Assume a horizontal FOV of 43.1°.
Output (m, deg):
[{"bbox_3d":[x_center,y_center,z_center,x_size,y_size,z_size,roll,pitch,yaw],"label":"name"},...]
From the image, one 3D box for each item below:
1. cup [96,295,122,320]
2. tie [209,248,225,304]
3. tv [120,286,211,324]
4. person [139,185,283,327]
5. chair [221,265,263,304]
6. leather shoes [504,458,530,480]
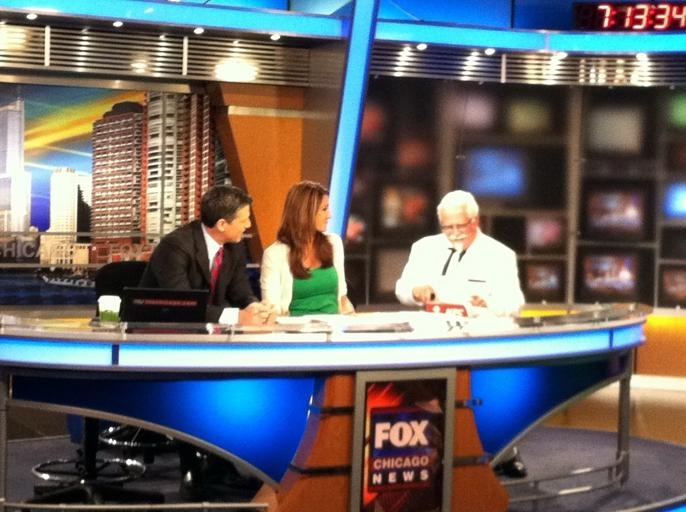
[{"bbox_3d":[-1.226,0.269,4.556,0.115,0.136,0.192,0,8,-14],"label":"cup"},{"bbox_3d":[-0.715,0.110,4.961,0.054,0.321,0.036,10,0,-5],"label":"tie"},{"bbox_3d":[-0.890,0.246,4.371,0.408,0.168,0.030,1,9,-11],"label":"tv"},{"bbox_3d":[-0.709,-0.035,4.878,0.953,0.813,0.651,10,16,26],"label":"person"},{"bbox_3d":[-0.597,0.190,5.219,0.237,0.274,0.105,1,3,8],"label":"chair"},{"bbox_3d":[1.118,1.360,5.585,0.113,0.048,0.145,-3,3,-18],"label":"leather shoes"}]
